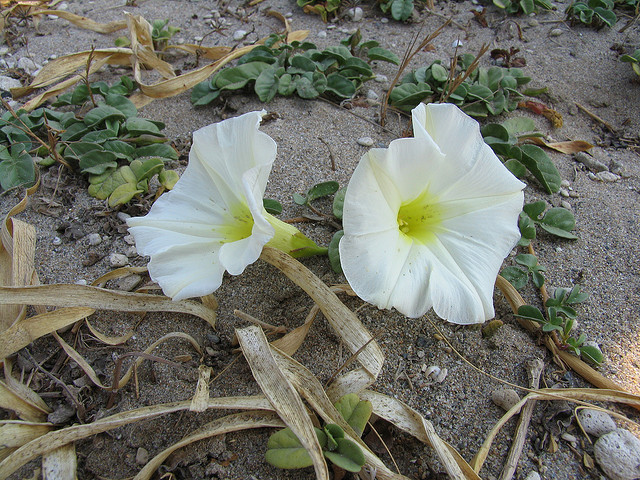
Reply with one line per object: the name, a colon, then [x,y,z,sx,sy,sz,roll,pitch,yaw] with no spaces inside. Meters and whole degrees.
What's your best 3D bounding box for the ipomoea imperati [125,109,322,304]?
ipomoea imperati: [-0.464,-0.116,2.731,0.878,0.731,0.745,-37,49,-26]
